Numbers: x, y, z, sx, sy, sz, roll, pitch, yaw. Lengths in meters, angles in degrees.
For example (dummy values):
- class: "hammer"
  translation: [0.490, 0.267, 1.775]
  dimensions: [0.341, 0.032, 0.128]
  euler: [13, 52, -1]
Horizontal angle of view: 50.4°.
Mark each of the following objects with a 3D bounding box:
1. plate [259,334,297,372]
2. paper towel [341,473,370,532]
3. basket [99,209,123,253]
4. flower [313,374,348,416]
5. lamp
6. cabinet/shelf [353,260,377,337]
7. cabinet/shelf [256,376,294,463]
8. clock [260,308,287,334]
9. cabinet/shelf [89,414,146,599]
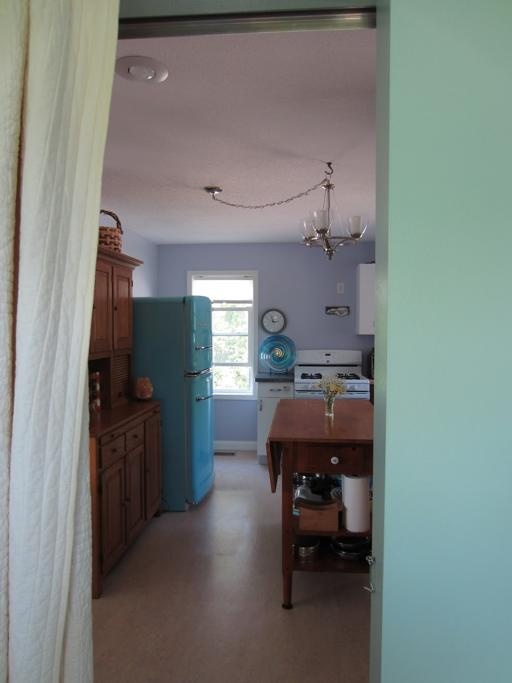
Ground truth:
- class: "plate"
  translation: [0.213, 0.119, 5.549]
  dimensions: [0.379, 0.384, 0.227]
  euler: [0, 2, 1]
- class: "paper towel"
  translation: [0.448, 0.705, 2.395]
  dimensions: [0.132, 0.249, 0.100]
  euler: [0, 2, -2]
- class: "basket"
  translation: [-0.855, -0.621, 3.083]
  dimensions: [0.181, 0.264, 0.150]
  euler: [3, -3, -20]
- class: "flower"
  translation: [0.426, 0.286, 3.011]
  dimensions: [0.175, 0.245, 0.183]
  euler: [-1, 5, -18]
- class: "lamp"
  translation: [0.428, -0.790, 3.067]
  dimensions: [0.288, 0.562, 0.357]
  euler: [-1, -1, -22]
- class: "cabinet/shelf"
  translation: [1.060, -0.418, 5.289]
  dimensions: [0.150, 0.709, 0.458]
  euler: [0, 2, 6]
- class: "cabinet/shelf"
  translation: [0.192, 0.737, 5.333]
  dimensions: [0.387, 0.863, 0.449]
  euler: [1, 4, -2]
- class: "clock"
  translation: [0.189, -0.225, 5.581]
  dimensions: [0.229, 0.270, 0.025]
  euler: [0, 1, 4]
- class: "cabinet/shelf"
  translation: [-0.700, 0.824, 2.713]
  dimensions: [0.239, 0.539, 0.809]
  euler: [-2, 7, -2]
